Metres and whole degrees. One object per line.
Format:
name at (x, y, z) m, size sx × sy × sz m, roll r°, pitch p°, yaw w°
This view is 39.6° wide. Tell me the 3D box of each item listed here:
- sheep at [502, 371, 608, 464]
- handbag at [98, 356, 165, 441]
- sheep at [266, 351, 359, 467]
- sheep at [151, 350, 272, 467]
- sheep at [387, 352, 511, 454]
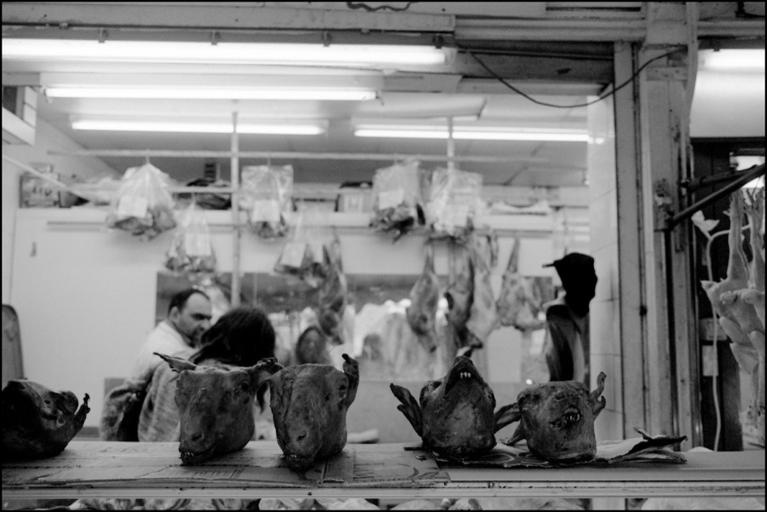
sheep at (0.905, 0.863, 5.528) m, size 0.563 × 0.447 × 0.653 m, roll -6°, pitch -17°, yaw 15°
handbag at (-1.636, 0.913, 6.759) m, size 0.475 × 0.482 × 0.188 m, roll 0°, pitch -9°, yaw 5°
sheep at (-0.373, 0.759, 5.408) m, size 0.512 × 0.551 × 0.588 m, roll 2°, pitch -11°, yaw 5°
sheep at (-0.832, 0.766, 5.332) m, size 0.660 × 0.540 × 0.385 m, roll 2°, pitch -4°, yaw 16°
sheep at (0.428, 0.785, 5.416) m, size 0.735 × 0.500 × 0.395 m, roll 5°, pitch -39°, yaw -8°
